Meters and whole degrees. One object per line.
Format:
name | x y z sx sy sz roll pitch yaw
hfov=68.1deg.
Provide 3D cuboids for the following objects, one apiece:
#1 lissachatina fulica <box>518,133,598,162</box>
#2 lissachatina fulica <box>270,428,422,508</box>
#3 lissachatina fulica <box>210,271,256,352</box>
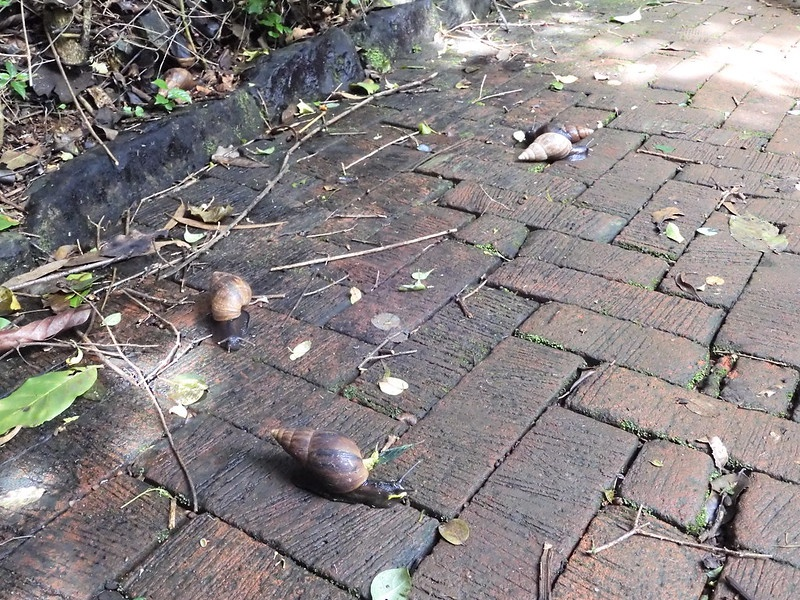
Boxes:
lissachatina fulica | 1.078 -1.093 4.248 0.347 0.116 0.199 -3 19 1
lissachatina fulica | -0.218 0.674 2.401 0.573 0.202 0.230 22 22 2
lissachatina fulica | -0.866 0.056 3.039 0.206 0.184 0.386 -3 64 -12
